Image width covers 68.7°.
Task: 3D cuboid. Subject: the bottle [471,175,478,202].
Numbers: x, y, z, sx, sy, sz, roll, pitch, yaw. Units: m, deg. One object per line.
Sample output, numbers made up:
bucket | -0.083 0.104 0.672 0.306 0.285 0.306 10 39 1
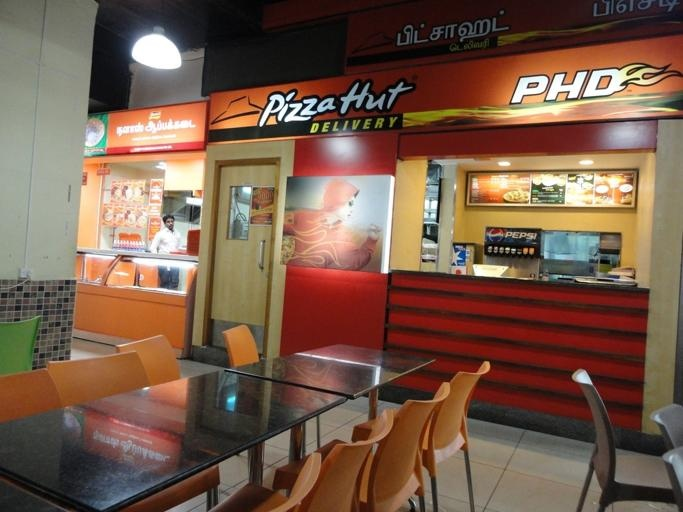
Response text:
bottle | 2.225 -1.107 8.365 0.171 0.442 0.043 4 6 16

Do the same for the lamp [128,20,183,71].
lamp | -1.887 -2.057 5.230 0.505 0.346 0.512 16 5 -7
